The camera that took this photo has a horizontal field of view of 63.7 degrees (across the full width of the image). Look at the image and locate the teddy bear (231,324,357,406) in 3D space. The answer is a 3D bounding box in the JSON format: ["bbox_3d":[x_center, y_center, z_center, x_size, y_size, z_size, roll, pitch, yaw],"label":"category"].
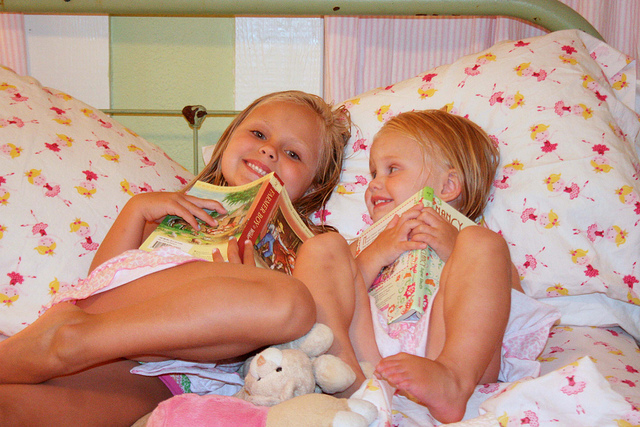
[{"bbox_3d":[-0.063,0.354,1.156,0.277,0.171,0.158,3,14,10],"label":"teddy bear"}]

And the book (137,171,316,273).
[{"bbox_3d":[-0.261,0.046,1.495,0.388,0.135,0.288,23,40,18],"label":"book"}]

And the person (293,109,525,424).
[{"bbox_3d":[0.333,0.136,1.520,0.509,0.333,0.885,-5,37,28],"label":"person"}]

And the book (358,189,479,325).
[{"bbox_3d":[0.232,0.150,1.551,0.094,0.379,0.373,39,10,-25],"label":"book"}]
